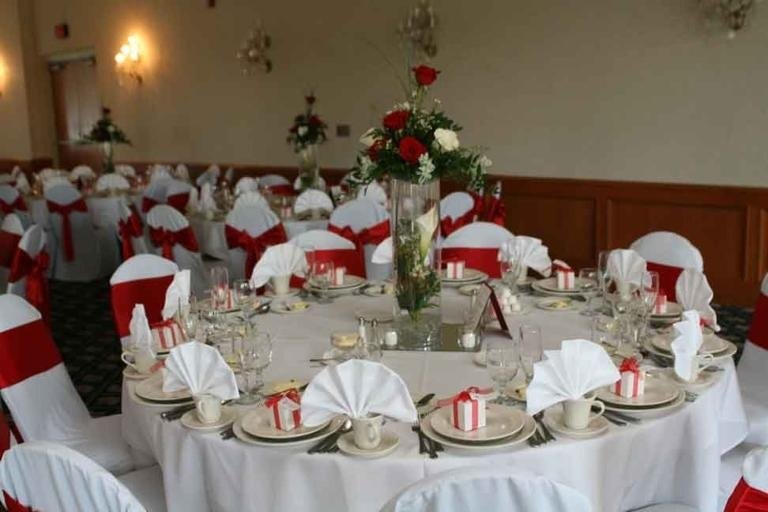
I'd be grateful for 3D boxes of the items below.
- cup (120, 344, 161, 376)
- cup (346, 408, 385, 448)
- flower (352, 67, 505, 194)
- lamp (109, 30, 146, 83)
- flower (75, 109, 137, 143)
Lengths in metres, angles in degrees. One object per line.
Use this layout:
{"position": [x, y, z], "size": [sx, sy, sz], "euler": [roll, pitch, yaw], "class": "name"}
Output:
{"position": [-1.093, 0.467, 2.714], "size": [0.188, 0.150, 0.125], "euler": [-2, 7, -21], "class": "cup"}
{"position": [-0.063, 0.610, 2.119], "size": [0.114, 0.130, 0.102], "euler": [0, 6, -1], "class": "cup"}
{"position": [0.152, -0.553, 3.002], "size": [0.638, 0.620, 0.635], "euler": [-4, 14, -29], "class": "flower"}
{"position": [-4.674, -3.566, 10.839], "size": [0.738, 0.903, 0.291], "euler": [5, 8, 38], "class": "lamp"}
{"position": [-4.901, -2.334, 10.578], "size": [0.992, 0.765, 0.945], "euler": [-4, 11, -25], "class": "flower"}
